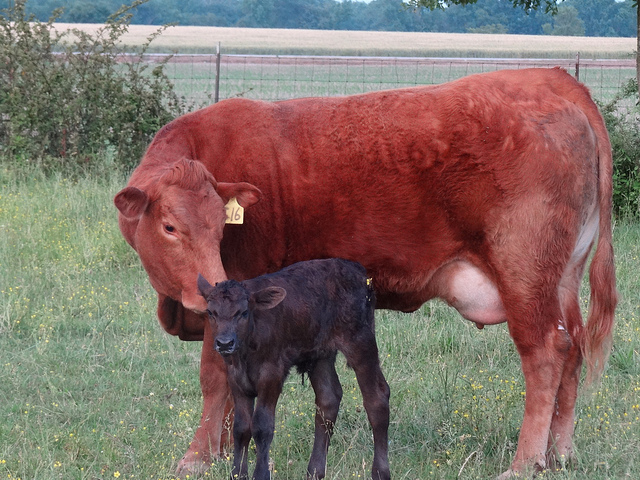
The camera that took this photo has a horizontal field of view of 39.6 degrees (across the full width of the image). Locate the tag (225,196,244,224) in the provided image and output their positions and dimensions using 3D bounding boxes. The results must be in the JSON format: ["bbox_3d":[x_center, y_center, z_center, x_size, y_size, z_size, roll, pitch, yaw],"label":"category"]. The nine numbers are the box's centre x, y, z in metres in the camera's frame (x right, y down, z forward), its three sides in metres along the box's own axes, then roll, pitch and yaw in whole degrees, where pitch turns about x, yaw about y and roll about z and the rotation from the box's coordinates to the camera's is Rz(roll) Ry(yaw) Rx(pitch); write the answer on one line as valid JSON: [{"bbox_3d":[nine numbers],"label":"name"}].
[{"bbox_3d":[-0.735,-0.263,7.618,0.193,0.253,0.015,1,10,5],"label":"tag"}]

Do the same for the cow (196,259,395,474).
[{"bbox_3d":[-0.162,1.096,7.575,1.635,1.810,1.141,-7,15,-15],"label":"cow"}]
